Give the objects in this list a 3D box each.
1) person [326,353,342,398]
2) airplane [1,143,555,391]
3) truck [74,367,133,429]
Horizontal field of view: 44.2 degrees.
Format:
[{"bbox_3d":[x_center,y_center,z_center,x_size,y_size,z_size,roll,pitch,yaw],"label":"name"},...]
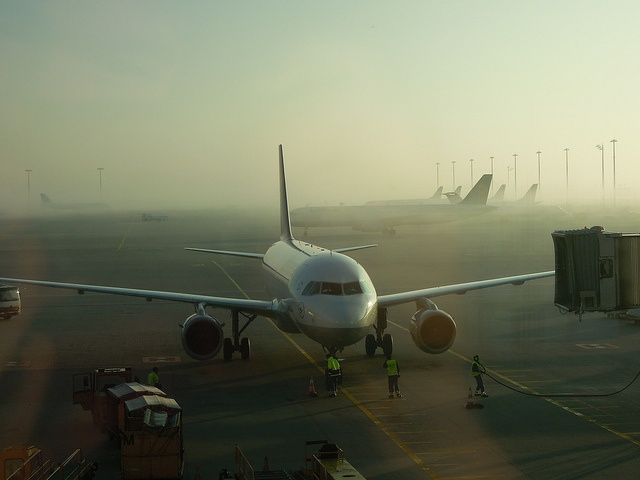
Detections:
[{"bbox_3d":[0.595,5.852,34.137,0.587,1.662,1.138,-4,4,0],"label":"person"},{"bbox_3d":[-1.954,0.687,41.116,14.449,10.662,17.199,-7,5,-38],"label":"airplane"},{"bbox_3d":[-8.364,6.152,31.263,2.641,2.397,2.690,0,-5,-27],"label":"truck"}]
